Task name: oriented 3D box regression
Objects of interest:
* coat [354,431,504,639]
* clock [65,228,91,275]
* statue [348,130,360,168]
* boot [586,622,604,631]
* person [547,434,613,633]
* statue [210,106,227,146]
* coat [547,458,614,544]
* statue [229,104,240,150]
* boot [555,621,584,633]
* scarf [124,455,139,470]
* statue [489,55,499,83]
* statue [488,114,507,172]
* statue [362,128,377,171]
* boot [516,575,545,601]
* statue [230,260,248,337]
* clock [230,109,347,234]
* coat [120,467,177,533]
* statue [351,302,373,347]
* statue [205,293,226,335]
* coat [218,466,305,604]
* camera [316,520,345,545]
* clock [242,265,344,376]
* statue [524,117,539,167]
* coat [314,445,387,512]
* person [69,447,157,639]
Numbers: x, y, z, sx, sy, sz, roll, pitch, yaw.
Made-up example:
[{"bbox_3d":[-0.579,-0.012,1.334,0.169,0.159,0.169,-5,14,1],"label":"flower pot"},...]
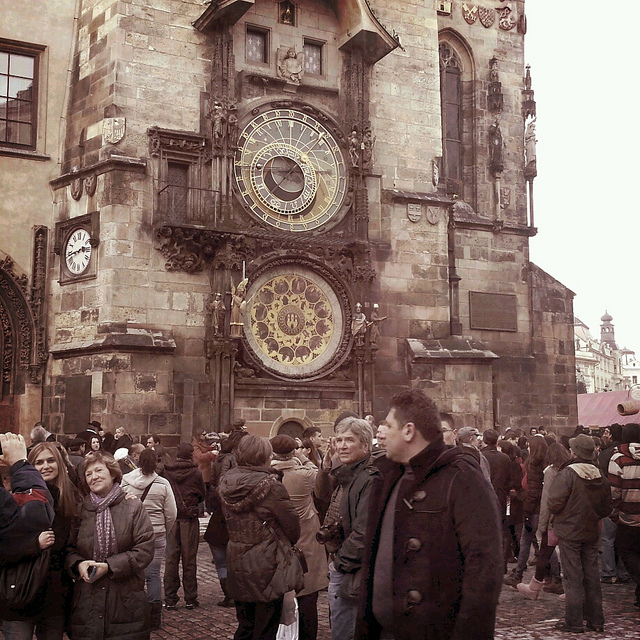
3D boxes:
[{"bbox_3d":[0.588,1.252,5.357,0.649,1.280,1.225,13,-20,-18],"label":"coat"},{"bbox_3d":[-4.703,-1.328,18.313,0.104,0.891,0.933,6,-9,-38],"label":"clock"},{"bbox_3d":[0.735,-3.665,20.213,0.247,0.782,0.181,1,-7,-10],"label":"statue"},{"bbox_3d":[2.688,2.990,9.173,0.151,0.059,0.090,-2,-8,16],"label":"boot"},{"bbox_3d":[2.627,2.236,9.375,0.645,1.615,0.371,3,-8,-23],"label":"person"},{"bbox_3d":[-1.990,-3.830,18.594,0.309,0.792,0.184,1,-7,-8],"label":"statue"},{"bbox_3d":[2.645,1.814,9.575,0.662,0.833,0.546,2,1,-3],"label":"coat"},{"bbox_3d":[-1.698,-3.837,18.804,0.131,0.913,0.346,-3,-8,22],"label":"statue"},{"bbox_3d":[2.438,2.964,9.169,0.245,0.119,0.095,7,0,42],"label":"boot"},{"bbox_3d":[-2.251,1.694,11.192,0.041,0.172,0.172,-41,-20,9],"label":"scarf"},{"bbox_3d":[4.682,-6.735,25.356,0.233,0.742,0.187,-1,-7,11],"label":"statue"},{"bbox_3d":[4.708,-4.780,25.144,0.388,1.598,0.401,0,-7,-2],"label":"statue"},{"bbox_3d":[1.069,-3.696,20.466,0.156,0.907,0.362,-4,-8,30],"label":"statue"},{"bbox_3d":[2.219,2.840,9.965,0.199,0.249,0.293,0,-7,1],"label":"boot"},{"bbox_3d":[-1.588,-0.429,18.400,0.418,1.581,0.413,3,-8,-25],"label":"statue"},{"bbox_3d":[-0.755,-3.021,19.455,2.254,2.430,0.334,10,-18,-24],"label":"clock"},{"bbox_3d":[-1.772,1.790,9.714,0.593,0.695,0.456,4,19,2],"label":"coat"},{"bbox_3d":[0.801,0.109,19.793,0.276,0.917,0.184,0,-7,2],"label":"statue"},{"bbox_3d":[-1.950,-0.123,18.196,0.268,0.822,0.182,2,-7,-12],"label":"statue"},{"bbox_3d":[-0.466,1.683,7.494,0.624,0.992,0.609,0,-6,-39],"label":"coat"},{"bbox_3d":[0.079,1.639,7.237,0.089,0.166,0.219,-12,1,-21],"label":"camera"},{"bbox_3d":[-0.637,0.045,19.229,1.614,1.694,0.087,35,-31,-30],"label":"clock"},{"bbox_3d":[5.758,-4.879,25.789,0.305,1.339,0.205,-1,-7,13],"label":"statue"},{"bbox_3d":[0.147,1.440,8.045,0.484,0.716,0.339,2,-24,-5],"label":"coat"},{"bbox_3d":[-1.506,1.628,6.825,0.604,1.331,0.365,2,-7,-16],"label":"person"}]
